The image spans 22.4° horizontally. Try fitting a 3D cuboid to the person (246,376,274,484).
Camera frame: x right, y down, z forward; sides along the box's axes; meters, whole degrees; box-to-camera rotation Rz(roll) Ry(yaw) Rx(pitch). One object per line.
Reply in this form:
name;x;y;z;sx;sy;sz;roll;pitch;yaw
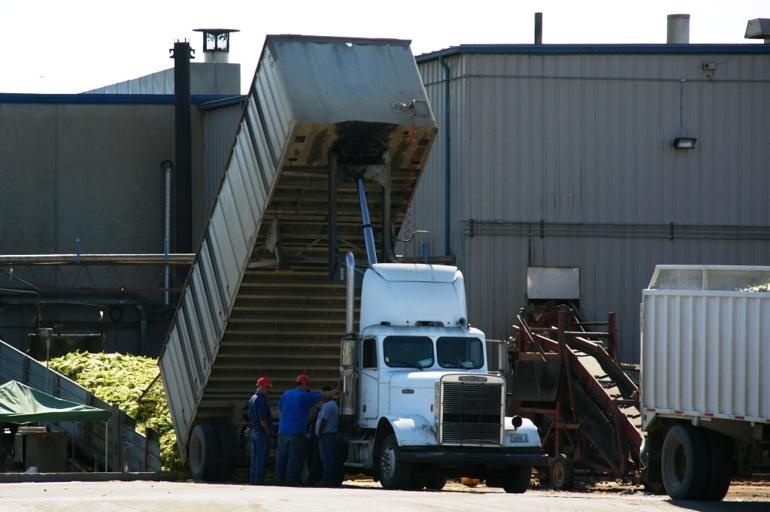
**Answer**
person;-3.868;5.394;60.096;1.052;2.880;1.025;-1;1;-23
